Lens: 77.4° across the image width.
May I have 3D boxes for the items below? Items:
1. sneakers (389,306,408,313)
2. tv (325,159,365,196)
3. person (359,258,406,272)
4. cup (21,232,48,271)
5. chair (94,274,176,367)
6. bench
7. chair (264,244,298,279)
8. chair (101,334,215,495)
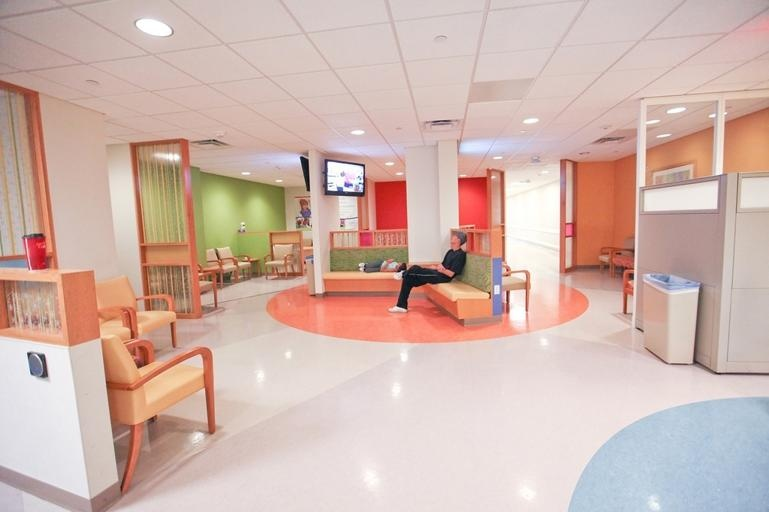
[{"bbox_3d":[0.247,0.997,9.014,0.317,0.119,0.122,4,0,5],"label":"sneakers"},{"bbox_3d":[-0.903,-1.752,10.789,0.195,0.820,1.215,6,12,42],"label":"tv"},{"bbox_3d":[-0.116,0.225,10.380,0.791,0.246,0.373,-2,5,10],"label":"person"},{"bbox_3d":[-3.610,-0.044,4.966,0.176,0.361,0.252,-9,11,-35],"label":"cup"},{"bbox_3d":[-3.783,0.926,7.327,1.215,1.481,1.191,1,4,17],"label":"chair"},{"bbox_3d":[0.716,0.123,9.783,2.096,1.550,4.358,-11,12,-43],"label":"bench"},{"bbox_3d":[-2.957,0.118,13.564,1.215,0.888,1.165,-4,4,-20],"label":"chair"},{"bbox_3d":[-2.758,1.508,5.451,0.992,1.511,1.301,4,8,20],"label":"chair"}]
